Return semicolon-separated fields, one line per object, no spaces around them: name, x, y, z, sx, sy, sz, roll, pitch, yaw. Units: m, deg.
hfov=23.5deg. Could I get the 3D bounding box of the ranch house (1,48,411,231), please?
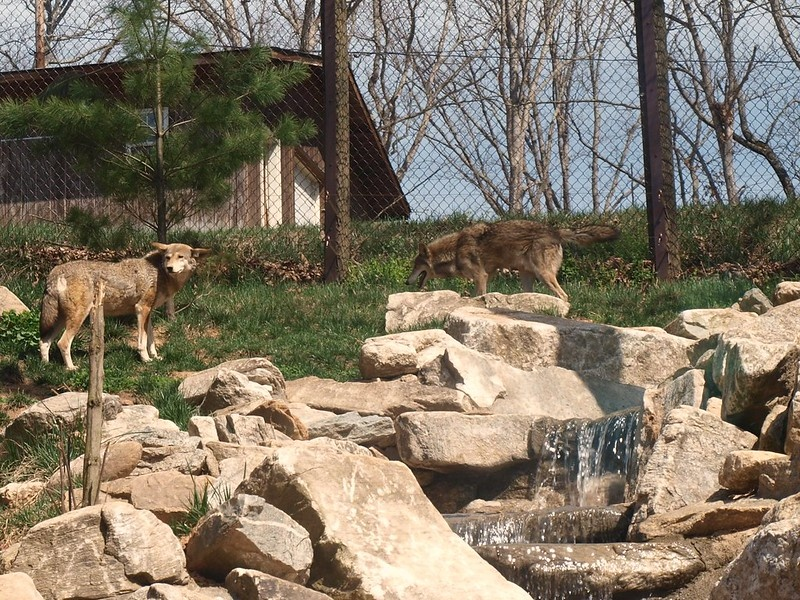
ranch house;-3.942;-2.364;35.582;5.415;2.129;4.363;0;-3;16
